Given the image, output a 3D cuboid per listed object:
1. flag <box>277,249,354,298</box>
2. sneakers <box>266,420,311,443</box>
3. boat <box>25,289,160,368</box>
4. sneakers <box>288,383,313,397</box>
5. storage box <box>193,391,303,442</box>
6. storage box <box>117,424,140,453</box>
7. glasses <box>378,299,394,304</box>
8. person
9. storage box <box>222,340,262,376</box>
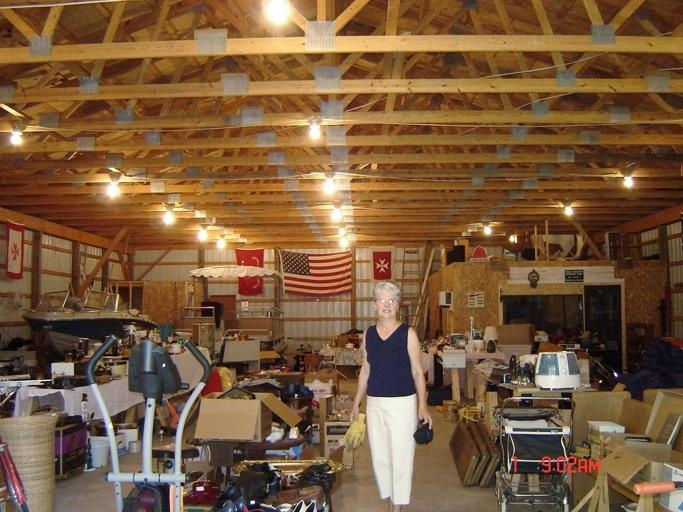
[{"bbox_3d":[-0.830,0.625,20.030,2.182,1.126,0.074,-1,1,-11],"label":"flag"},{"bbox_3d":[-0.534,1.747,5.917,0.445,0.143,0.140,-7,-4,-11],"label":"sneakers"},{"bbox_3d":[-5.032,1.365,11.399,1.893,1.163,2.870,-1,-4,33],"label":"boat"},{"bbox_3d":[-0.495,1.689,7.484,0.198,0.080,0.255,-8,-13,40],"label":"sneakers"},{"bbox_3d":[-0.918,1.506,5.709,0.851,0.261,0.549,2,-6,-1],"label":"storage box"},{"bbox_3d":[-2.923,2.479,8.074,0.289,0.351,0.406,0,-6,-19],"label":"storage box"},{"bbox_3d":[0.387,0.387,5.047,0.119,0.047,0.025,-1,-6,-2],"label":"glasses"},{"bbox_3d":[0.432,1.210,5.131,0.689,1.965,0.383,-3,-6,11],"label":"person"},{"bbox_3d":[-2.183,2.182,12.824,1.036,0.747,0.511,2,0,-29],"label":"storage box"}]
